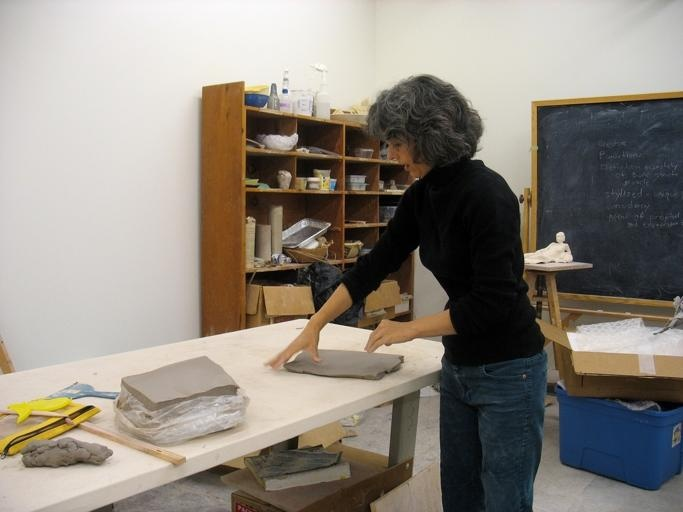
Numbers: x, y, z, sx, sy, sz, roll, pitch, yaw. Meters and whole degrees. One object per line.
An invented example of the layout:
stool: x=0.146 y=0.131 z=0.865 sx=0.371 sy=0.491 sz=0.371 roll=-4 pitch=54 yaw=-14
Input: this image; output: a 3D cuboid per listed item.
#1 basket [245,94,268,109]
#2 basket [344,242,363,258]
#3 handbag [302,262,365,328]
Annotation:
basket: x=-0.594 y=-1.089 z=3.754 sx=0.158 sy=0.067 sz=0.153 roll=0 pitch=-1 yaw=-13
basket: x=0.116 y=-0.047 z=4.592 sx=0.149 sy=0.073 sz=0.120 roll=-2 pitch=4 yaw=-2
handbag: x=-0.091 y=0.269 z=3.926 sx=0.389 sy=0.512 sz=0.518 roll=13 pitch=29 yaw=6
